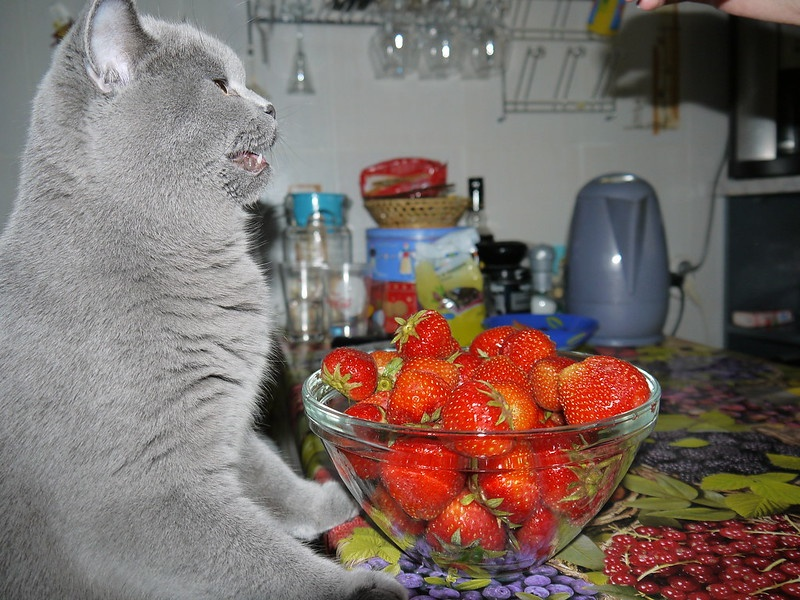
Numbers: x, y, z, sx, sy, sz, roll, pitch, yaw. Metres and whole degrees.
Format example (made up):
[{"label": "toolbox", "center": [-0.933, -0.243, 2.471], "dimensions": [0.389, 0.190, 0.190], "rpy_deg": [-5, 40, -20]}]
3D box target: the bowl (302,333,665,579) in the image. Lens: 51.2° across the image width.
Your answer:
[{"label": "bowl", "center": [0.158, 0.237, 1.188], "dimensions": [0.402, 0.193, 0.392], "rpy_deg": [-4, 3, 0]}]
